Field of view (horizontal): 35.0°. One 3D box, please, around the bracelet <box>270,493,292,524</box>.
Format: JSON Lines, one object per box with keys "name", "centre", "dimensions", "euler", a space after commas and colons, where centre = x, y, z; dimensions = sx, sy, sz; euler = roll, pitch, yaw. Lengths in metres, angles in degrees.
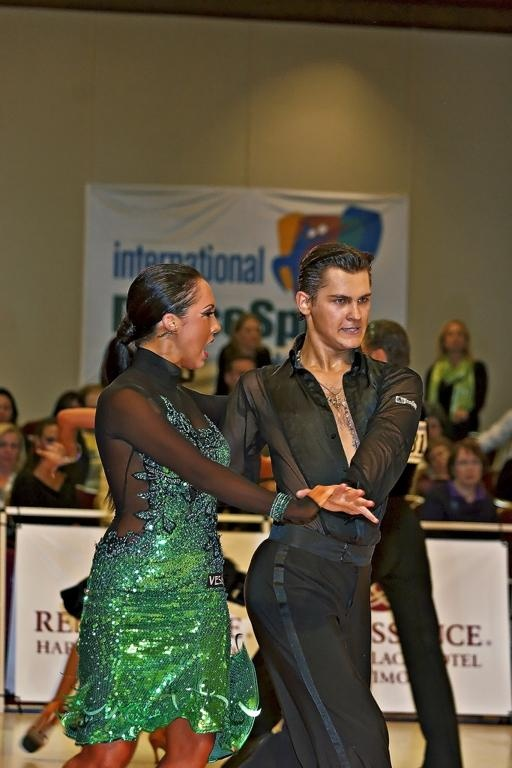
{"name": "bracelet", "centre": [0.044, 0.297, 1.945], "dimensions": [0.026, 0.061, 0.057], "euler": [31, 31, 14]}
